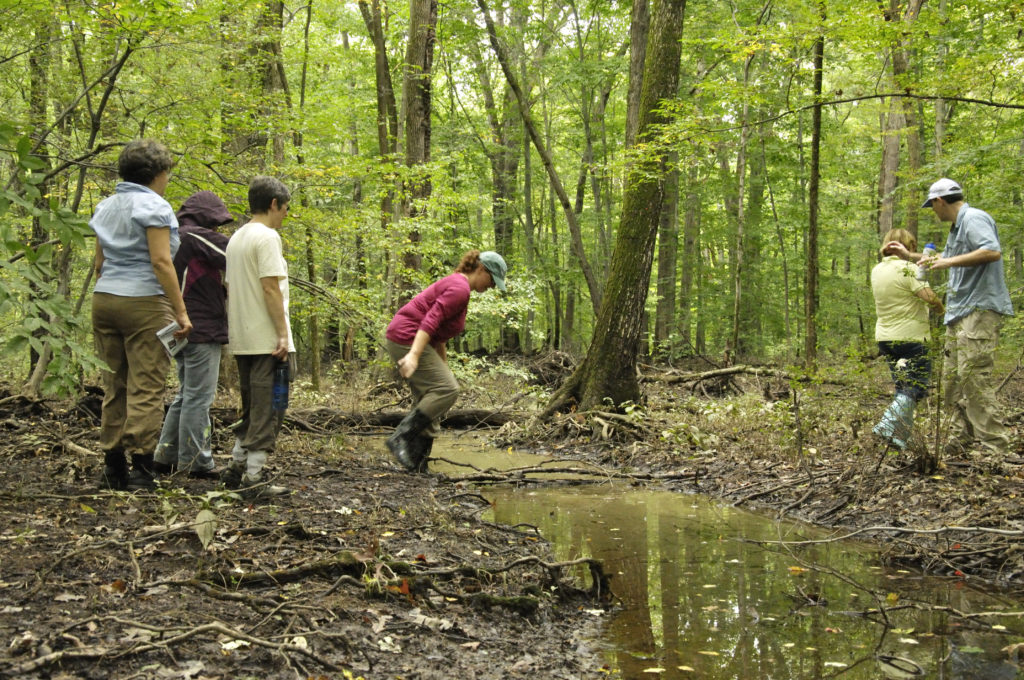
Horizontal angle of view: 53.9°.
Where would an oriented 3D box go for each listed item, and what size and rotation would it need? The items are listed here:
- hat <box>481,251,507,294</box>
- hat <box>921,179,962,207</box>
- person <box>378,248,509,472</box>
[{"bbox_3d":[-0.243,-0.805,11.797,0.361,0.449,1.008,9,8,-3],"label":"hat"},{"bbox_3d":[4.948,-1.724,11.728,0.436,0.292,0.535,-9,11,-32],"label":"hat"},{"bbox_3d":[-0.931,0.236,11.808,1.201,2.697,0.994,7,9,-20],"label":"person"}]
